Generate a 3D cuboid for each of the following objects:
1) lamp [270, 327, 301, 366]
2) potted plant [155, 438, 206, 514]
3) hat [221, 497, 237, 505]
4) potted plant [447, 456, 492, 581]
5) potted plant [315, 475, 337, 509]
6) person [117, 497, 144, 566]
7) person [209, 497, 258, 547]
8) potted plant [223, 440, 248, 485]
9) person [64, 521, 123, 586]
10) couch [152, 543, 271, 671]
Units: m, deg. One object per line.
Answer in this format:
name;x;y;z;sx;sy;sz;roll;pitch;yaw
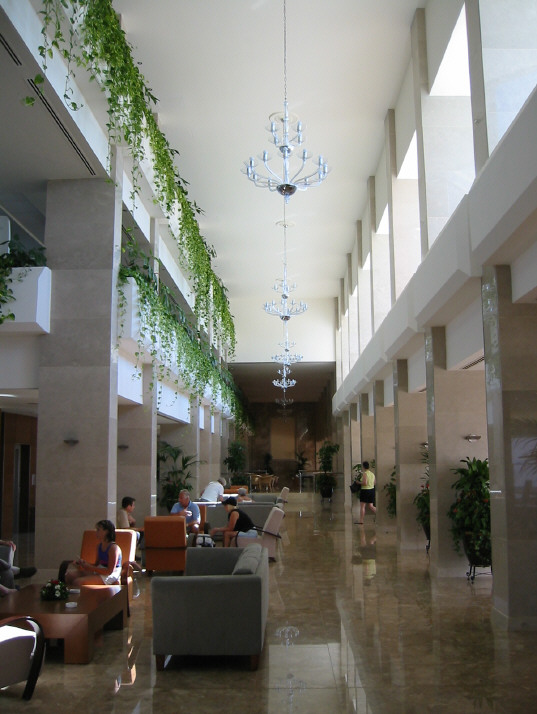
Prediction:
lamp;0.735;-0.387;22.265;1.177;1.900;1.268;-1;-3;17
potted plant;-2.753;3.421;16.357;1.271;2.441;1.921;0;-2;9
hat;-0.567;2.089;8.086;0.185;0.130;0.321;5;-9;-4
potted plant;2.453;2.006;6.933;0.486;1.507;0.896;0;-9;20
potted plant;2.409;5.488;23.533;0.725;1.293;0.543;3;-9;3
person;-1.914;2.414;7.816;0.381;0.835;0.312;6;-7;-7
person;-0.511;2.487;8.006;0.554;0.857;0.346;2;-20;-7
potted plant;-1.539;4.974;26.327;1.192;1.941;2.997;4;-9;-3
person;-1.728;2.084;5.551;0.492;0.899;0.346;13;-14;-31
couch;-0.392;1.904;4.438;0.770;0.691;1.539;4;-9;3
